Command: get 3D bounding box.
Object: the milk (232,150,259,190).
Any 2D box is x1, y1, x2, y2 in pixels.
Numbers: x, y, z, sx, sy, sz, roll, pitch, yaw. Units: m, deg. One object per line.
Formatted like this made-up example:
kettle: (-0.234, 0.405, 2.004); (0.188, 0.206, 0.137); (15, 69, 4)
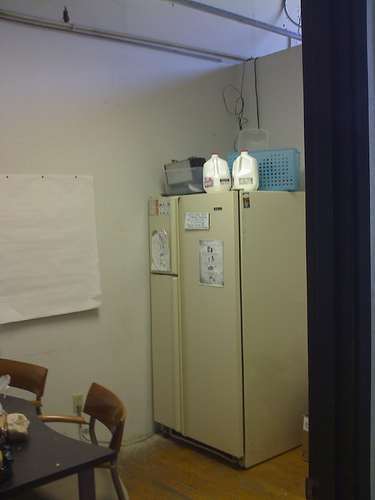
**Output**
milk: (0.321, -0.449, 2.297); (0.146, 0.224, 0.104); (-1, 2, 9)
